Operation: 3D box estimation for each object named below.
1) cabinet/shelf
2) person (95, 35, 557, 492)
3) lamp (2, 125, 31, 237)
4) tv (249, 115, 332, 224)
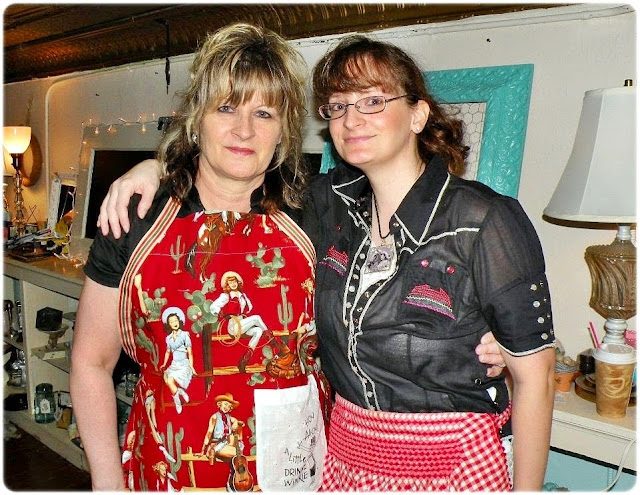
[{"bbox_3d":[-1.247,0.605,2.613,0.385,1.035,1.159,-5,14,-42],"label":"cabinet/shelf"},{"bbox_3d":[0.273,0.062,1.523,0.742,1.322,0.322,2,5,22],"label":"person"},{"bbox_3d":[-2.554,-0.586,4.508,0.212,0.930,0.588,-3,5,-30],"label":"lamp"},{"bbox_3d":[-0.099,-0.258,1.726,0.254,0.317,0.139,7,15,-2],"label":"tv"}]
